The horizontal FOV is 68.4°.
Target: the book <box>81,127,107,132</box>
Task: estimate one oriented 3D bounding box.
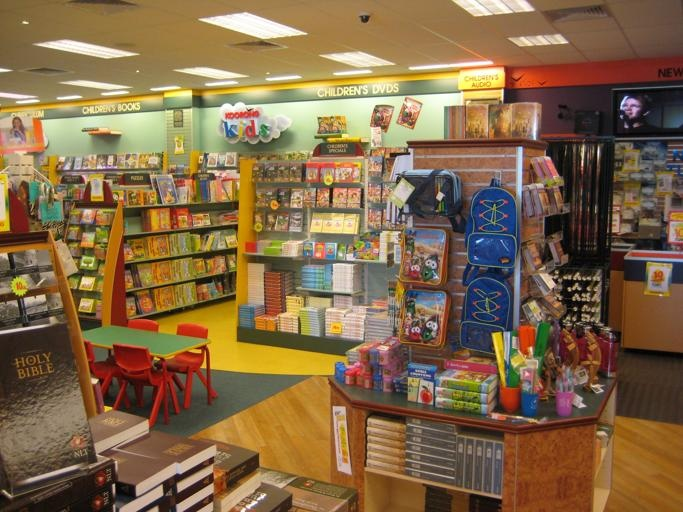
[{"bbox_3d":[-7.449,-3.798,15.162,0.358,0.081,0.338,3,4,36],"label":"book"}]

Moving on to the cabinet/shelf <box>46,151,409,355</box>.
[{"bbox_3d":[-1.667,0.020,7.618,3.738,3.470,1.302,2,3,29],"label":"cabinet/shelf"}]

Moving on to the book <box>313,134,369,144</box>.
[{"bbox_3d":[0.078,-2.763,11.840,1.172,0.226,0.599,-6,10,-32],"label":"book"}]

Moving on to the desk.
[{"bbox_3d":[-2.130,1.104,5.707,1.293,0.722,0.966,3,5,32],"label":"desk"}]

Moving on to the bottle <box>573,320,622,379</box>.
[{"bbox_3d":[1.778,0.683,3.532,0.275,0.360,0.419,4,10,27],"label":"bottle"}]

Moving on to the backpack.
[{"bbox_3d":[0.712,0.055,3.028,0.828,1.116,0.372,5,4,30],"label":"backpack"}]

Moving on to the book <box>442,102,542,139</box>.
[{"bbox_3d":[1.097,-0.979,3.685,0.676,0.261,0.208,2,9,11],"label":"book"}]

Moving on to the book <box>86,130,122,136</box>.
[{"bbox_3d":[-7.062,-3.663,15.078,0.453,0.087,0.414,1,1,15],"label":"book"}]
